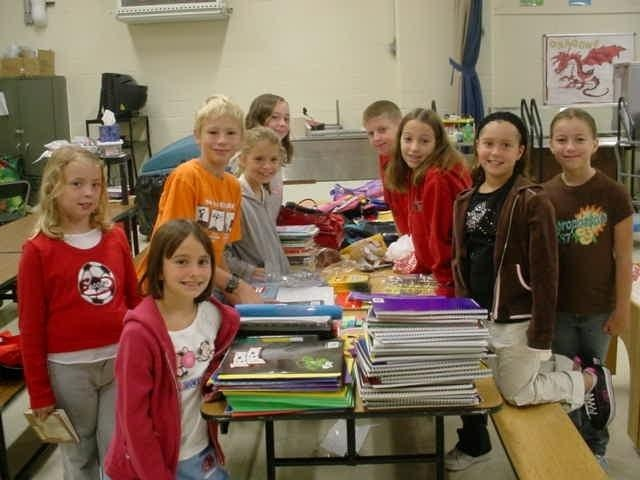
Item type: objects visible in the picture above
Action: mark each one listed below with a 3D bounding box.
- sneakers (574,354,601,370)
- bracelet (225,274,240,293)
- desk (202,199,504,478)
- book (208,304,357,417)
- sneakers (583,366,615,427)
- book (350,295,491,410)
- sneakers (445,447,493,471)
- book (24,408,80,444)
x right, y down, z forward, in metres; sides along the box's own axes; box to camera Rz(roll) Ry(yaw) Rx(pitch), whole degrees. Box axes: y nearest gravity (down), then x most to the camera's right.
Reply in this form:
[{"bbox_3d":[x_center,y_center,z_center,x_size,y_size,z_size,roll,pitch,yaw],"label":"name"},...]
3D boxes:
[{"bbox_3d":[1.320,0.591,2.676,0.164,0.059,0.075,0,-7,12],"label":"sneakers"},{"bbox_3d":[-0.412,0.214,2.536,0.049,0.076,0.076,28,41,7],"label":"bracelet"},{"bbox_3d":[0.171,0.552,2.180,1.023,0.497,0.568,-1,29,1],"label":"desk"},{"bbox_3d":[-0.120,0.484,2.017,0.488,0.187,0.311,-2,11,5],"label":"book"},{"bbox_3d":[1.332,0.755,2.658,0.136,0.319,0.116,-6,0,-10],"label":"sneakers"},{"bbox_3d":[0.346,0.389,1.954,0.350,0.189,0.412,0,10,0],"label":"book"},{"bbox_3d":[0.755,1.108,2.785,0.233,0.090,0.084,-2,2,-16],"label":"sneakers"},{"bbox_3d":[-1.069,0.716,2.181,0.173,0.177,0.047,0,36,17],"label":"book"}]
